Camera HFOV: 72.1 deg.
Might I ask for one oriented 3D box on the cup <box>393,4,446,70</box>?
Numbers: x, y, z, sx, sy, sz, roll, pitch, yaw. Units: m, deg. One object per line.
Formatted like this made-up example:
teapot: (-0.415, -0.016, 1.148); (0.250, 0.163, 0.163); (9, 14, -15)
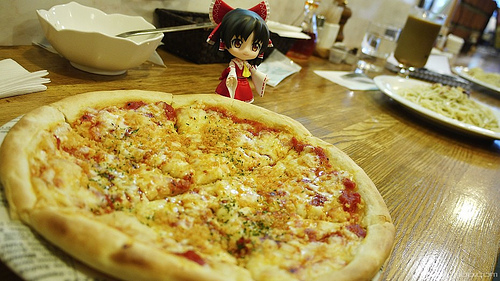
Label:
cup: (1.783, -1.086, 3.690); (0.373, 0.533, 0.438); (24, 49, 9)

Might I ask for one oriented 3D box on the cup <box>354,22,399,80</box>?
cup: (1.394, -1.015, 3.825); (0.331, 0.463, 0.415); (26, 49, 10)
